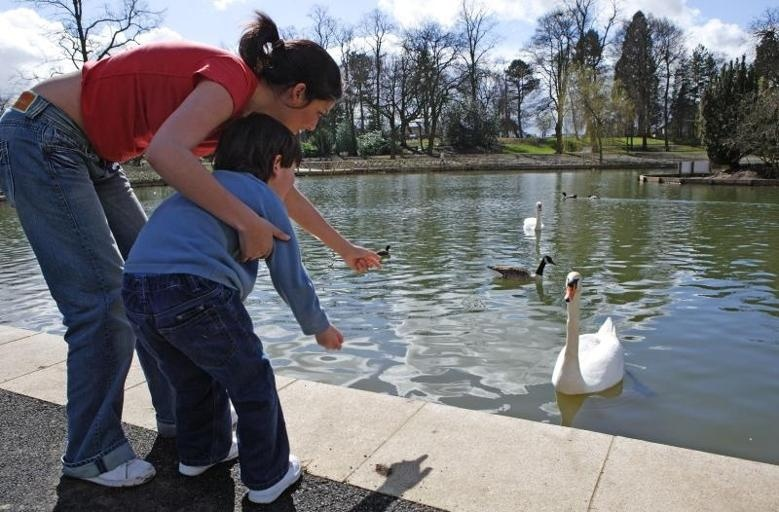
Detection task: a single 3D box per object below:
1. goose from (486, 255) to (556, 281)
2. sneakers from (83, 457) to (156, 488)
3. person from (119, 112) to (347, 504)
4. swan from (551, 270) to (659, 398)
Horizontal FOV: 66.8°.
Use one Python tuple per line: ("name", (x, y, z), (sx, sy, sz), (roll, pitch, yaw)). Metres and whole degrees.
("goose", (2.632, 0.252, 11.593), (0.828, 0.397, 1.518), (6, 13, 31))
("sneakers", (-1.674, 1.379, 3.715), (0.518, 0.144, 0.235), (-2, 10, -2))
("person", (-0.973, 0.327, 3.542), (1.140, 2.302, 0.561), (-6, 12, -21))
("swan", (2.190, 0.853, 6.575), (0.587, 1.189, 1.370), (4, 10, 32))
